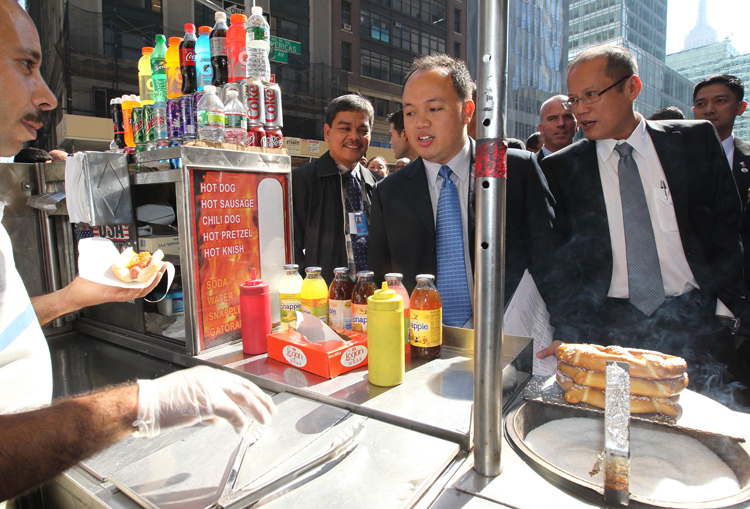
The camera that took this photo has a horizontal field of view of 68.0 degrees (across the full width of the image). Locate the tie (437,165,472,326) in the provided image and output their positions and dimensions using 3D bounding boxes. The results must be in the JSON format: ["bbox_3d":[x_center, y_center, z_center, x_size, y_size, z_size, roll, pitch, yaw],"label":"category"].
[{"bbox_3d":[0.436,-0.063,3.133,0.186,0.907,0.209,-1,3,-2],"label":"tie"}]

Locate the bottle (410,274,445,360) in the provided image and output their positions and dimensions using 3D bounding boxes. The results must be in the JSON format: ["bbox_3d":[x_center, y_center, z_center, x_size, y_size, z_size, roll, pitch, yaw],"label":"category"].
[{"bbox_3d":[0.209,0.262,2.328,0.127,0.362,0.109,-1,3,0],"label":"bottle"}]

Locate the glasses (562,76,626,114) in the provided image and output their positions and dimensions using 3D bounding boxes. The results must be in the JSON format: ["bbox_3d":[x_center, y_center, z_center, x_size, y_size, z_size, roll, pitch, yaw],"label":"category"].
[{"bbox_3d":[1.294,-0.966,3.313,0.206,0.054,0.195,-35,12,-18],"label":"glasses"}]

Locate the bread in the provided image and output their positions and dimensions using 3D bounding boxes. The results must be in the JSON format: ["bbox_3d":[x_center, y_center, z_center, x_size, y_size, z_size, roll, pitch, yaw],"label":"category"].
[{"bbox_3d":[0.904,0.443,2.043,0.326,0.114,0.321,-2,3,10],"label":"bread"}]

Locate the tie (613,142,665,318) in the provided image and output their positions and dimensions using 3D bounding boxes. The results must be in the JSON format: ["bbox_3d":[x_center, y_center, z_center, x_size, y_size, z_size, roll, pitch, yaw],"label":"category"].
[{"bbox_3d":[1.537,-0.163,3.264,0.265,1.020,0.136,1,4,37],"label":"tie"}]

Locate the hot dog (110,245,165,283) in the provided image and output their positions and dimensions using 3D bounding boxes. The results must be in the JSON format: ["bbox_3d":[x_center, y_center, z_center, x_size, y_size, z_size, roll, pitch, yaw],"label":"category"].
[{"bbox_3d":[-1.069,0.055,2.538,0.254,0.094,0.241,-19,32,-22],"label":"hot dog"}]
